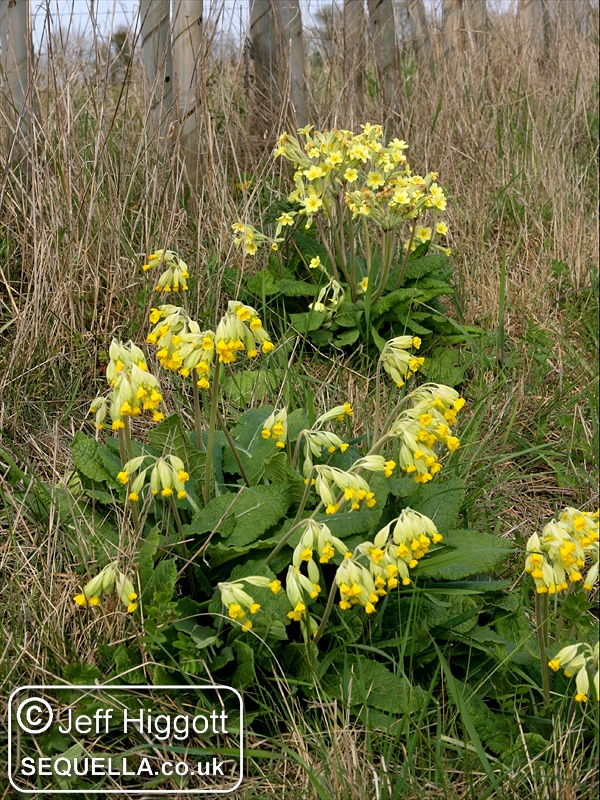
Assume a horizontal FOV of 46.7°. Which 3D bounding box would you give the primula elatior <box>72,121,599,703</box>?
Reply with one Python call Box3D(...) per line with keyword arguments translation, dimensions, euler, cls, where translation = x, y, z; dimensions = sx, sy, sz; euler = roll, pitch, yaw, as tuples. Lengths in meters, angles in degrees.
Box3D(translation=(0.112, -0.313, 2.089), dimensions=(1.104, 2.014, 0.591), euler=(3, -11, 6), cls="primula elatior")
